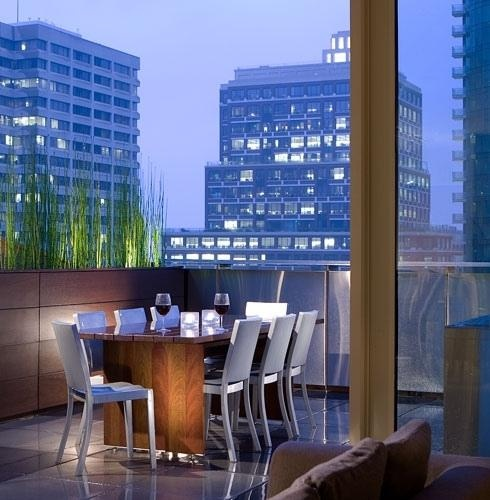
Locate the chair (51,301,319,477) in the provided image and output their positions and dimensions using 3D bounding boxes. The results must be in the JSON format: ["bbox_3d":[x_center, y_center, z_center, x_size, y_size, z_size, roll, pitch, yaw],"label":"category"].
[{"bbox_3d":[-0.474,0.663,3.757,0.892,0.679,0.720,-3,-4,27],"label":"chair"}]
